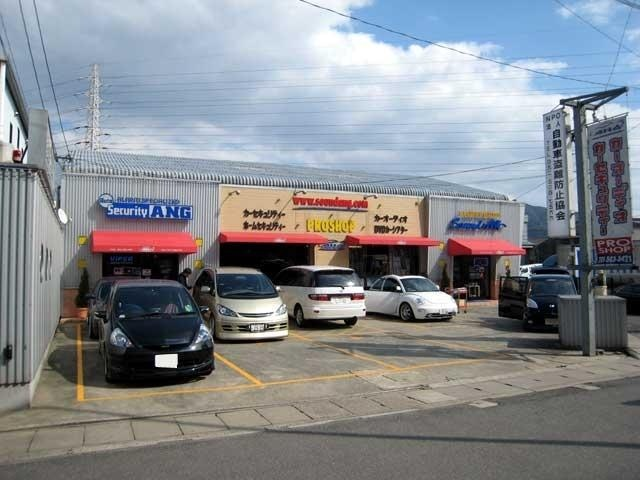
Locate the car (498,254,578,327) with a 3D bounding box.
[{"bbox_3d":[6.753,1.834,18.632,1.702,1.050,2.203,-1,-10,8],"label":"car"}]

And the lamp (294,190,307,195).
[{"bbox_3d":[-0.787,-1.839,24.162,0.348,0.145,0.191,1,14,-28],"label":"lamp"}]

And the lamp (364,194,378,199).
[{"bbox_3d":[2.165,-1.802,25.702,0.726,0.192,0.129,-3,5,-43],"label":"lamp"}]

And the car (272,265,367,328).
[{"bbox_3d":[-0.138,1.600,18.621,1.542,1.059,2.770,1,5,-20],"label":"car"}]

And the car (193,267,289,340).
[{"bbox_3d":[-1.973,1.700,15.671,1.513,1.103,2.531,1,-3,-22],"label":"car"}]

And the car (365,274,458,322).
[{"bbox_3d":[2.919,1.946,20.512,1.411,0.999,2.698,4,-7,-32],"label":"car"}]
